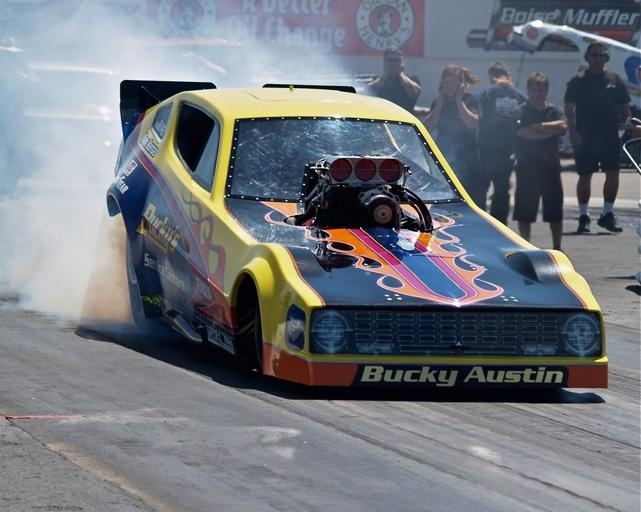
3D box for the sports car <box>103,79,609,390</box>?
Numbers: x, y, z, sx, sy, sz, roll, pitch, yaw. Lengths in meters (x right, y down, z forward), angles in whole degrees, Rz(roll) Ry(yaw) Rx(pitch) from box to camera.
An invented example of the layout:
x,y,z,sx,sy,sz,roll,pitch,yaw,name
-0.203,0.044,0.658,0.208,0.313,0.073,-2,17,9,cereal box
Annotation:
x,y,z,sx,sy,sz,roll,pitch,yaw,name
-0.032,-0.345,5.354,2.357,1.160,3.647,-2,21,-28,sports car
